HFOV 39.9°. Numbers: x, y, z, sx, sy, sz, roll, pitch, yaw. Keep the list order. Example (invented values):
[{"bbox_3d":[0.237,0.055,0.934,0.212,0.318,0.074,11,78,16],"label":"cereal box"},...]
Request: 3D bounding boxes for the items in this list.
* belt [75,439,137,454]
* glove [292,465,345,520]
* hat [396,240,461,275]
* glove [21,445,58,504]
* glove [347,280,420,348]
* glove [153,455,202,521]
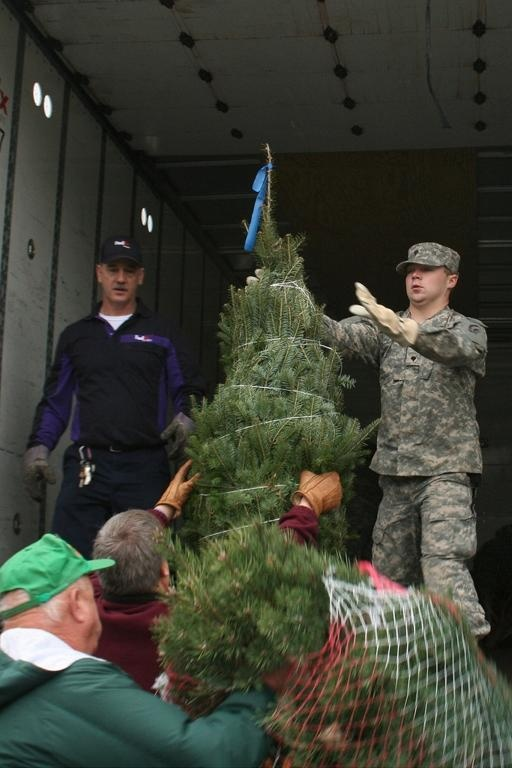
[{"bbox_3d":[-0.738,0.306,3.439,0.301,0.038,0.040,4,13,7],"label":"belt"},{"bbox_3d":[0.190,0.318,2.105,0.162,0.124,0.062,5,-38,-3],"label":"glove"},{"bbox_3d":[0.787,-0.597,3.168,0.264,0.084,0.177,10,-14,-32],"label":"hat"},{"bbox_3d":[-1.048,0.418,3.503,0.207,0.322,0.115,-13,-28,8],"label":"glove"},{"bbox_3d":[0.428,-0.233,2.428,0.327,0.216,0.139,-9,18,-40],"label":"glove"},{"bbox_3d":[-0.285,0.374,2.460,0.084,0.220,0.157,43,-17,-32],"label":"glove"}]
